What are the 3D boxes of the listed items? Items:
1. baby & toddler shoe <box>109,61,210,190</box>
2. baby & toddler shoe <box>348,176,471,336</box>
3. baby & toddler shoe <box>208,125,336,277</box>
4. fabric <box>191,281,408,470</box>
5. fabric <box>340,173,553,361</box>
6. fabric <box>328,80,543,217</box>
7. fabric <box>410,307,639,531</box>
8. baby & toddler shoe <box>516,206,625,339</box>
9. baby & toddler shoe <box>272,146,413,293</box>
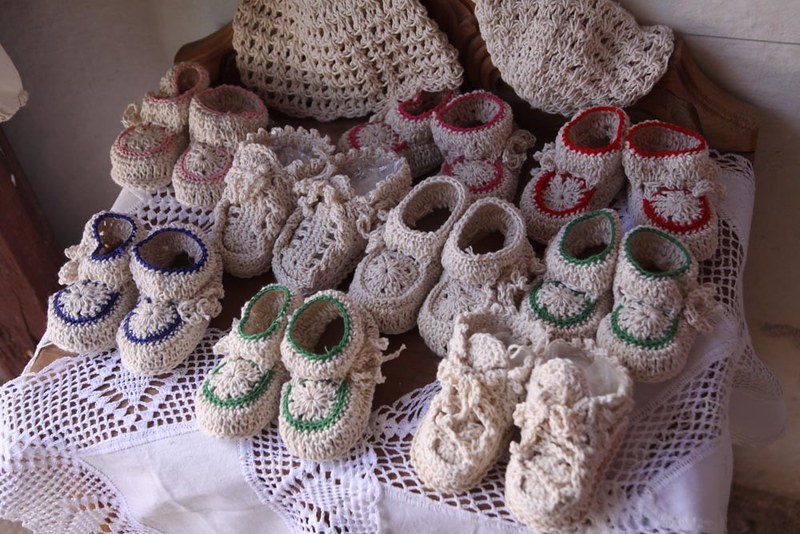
[{"bbox_3d":[-0.596,-0.332,1.820,0.212,0.127,0.359,14,75,18],"label":"baby & toddler shoe"},{"bbox_3d":[0.023,-0.001,1.613,0.200,0.152,0.423,28,83,27],"label":"baby & toddler shoe"},{"bbox_3d":[-0.281,-0.151,1.683,0.209,0.176,0.431,13,79,18],"label":"baby & toddler shoe"},{"bbox_3d":[-0.221,0.241,1.393,0.359,0.114,0.371,15,74,14],"label":"fabric"},{"bbox_3d":[0.096,0.000,1.516,0.408,0.142,0.396,33,82,24],"label":"fabric"},{"bbox_3d":[0.115,-0.287,1.706,0.354,0.127,0.315,1,54,7],"label":"fabric"},{"bbox_3d":[0.245,0.284,1.302,0.335,0.132,0.405,23,84,23],"label":"fabric"},{"bbox_3d":[0.373,0.037,1.460,0.167,0.108,0.310,20,73,32],"label":"baby & toddler shoe"},{"bbox_3d":[-0.150,-0.082,1.676,0.223,0.176,0.416,40,74,24],"label":"baby & toddler shoe"}]
